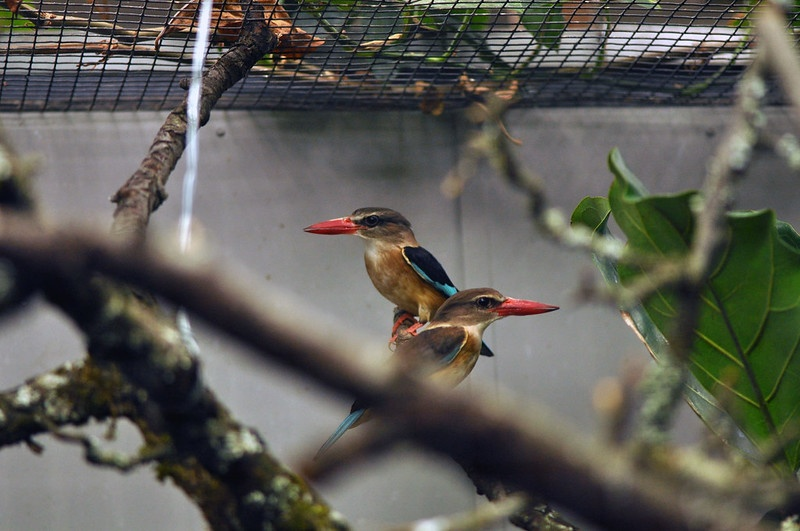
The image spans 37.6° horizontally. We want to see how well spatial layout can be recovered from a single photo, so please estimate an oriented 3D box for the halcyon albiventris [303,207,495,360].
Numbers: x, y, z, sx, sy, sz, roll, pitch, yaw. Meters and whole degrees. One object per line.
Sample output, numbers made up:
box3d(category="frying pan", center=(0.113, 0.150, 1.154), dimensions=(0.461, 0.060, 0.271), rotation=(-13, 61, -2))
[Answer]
box3d(category="halcyon albiventris", center=(0.021, 0.011, 3.569), dimensions=(0.624, 0.440, 0.260), rotation=(-10, 12, -34))
